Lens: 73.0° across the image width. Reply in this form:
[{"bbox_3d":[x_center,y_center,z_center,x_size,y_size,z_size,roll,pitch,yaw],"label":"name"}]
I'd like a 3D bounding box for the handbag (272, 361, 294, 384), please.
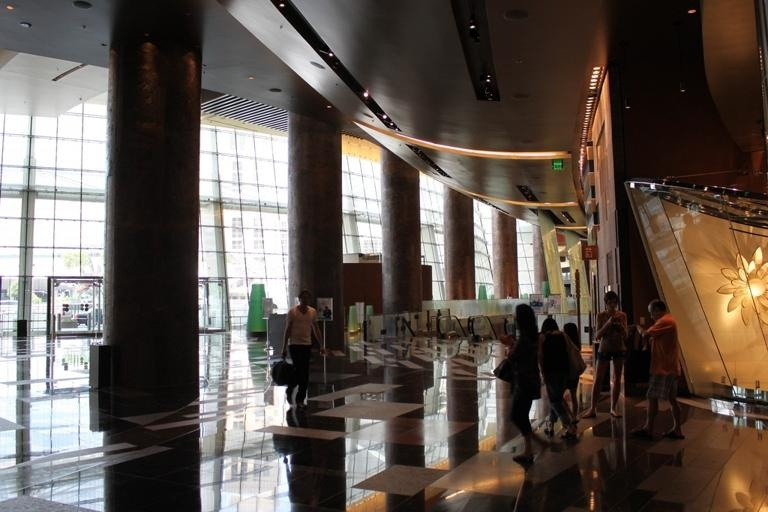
[{"bbox_3d":[-1.854,2.160,9.544,0.374,0.392,0.435,8,-14,-36],"label":"handbag"}]

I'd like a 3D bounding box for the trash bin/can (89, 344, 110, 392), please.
[{"bbox_3d":[-6.189,2.382,11.187,0.531,0.958,0.251,-7,-8,17],"label":"trash bin/can"}]

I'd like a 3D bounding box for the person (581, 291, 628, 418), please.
[{"bbox_3d":[3.927,1.687,9.138,0.778,2.094,1.548,-7,-8,22],"label":"person"}]

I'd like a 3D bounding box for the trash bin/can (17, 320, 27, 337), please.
[{"bbox_3d":[-19.600,3.898,27.948,0.406,0.918,0.685,1,-9,-38],"label":"trash bin/can"}]

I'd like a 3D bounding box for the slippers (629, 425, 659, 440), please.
[{"bbox_3d":[3.814,2.602,7.591,0.297,0.116,0.167,1,-4,27],"label":"slippers"}]

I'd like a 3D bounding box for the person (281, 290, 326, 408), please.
[{"bbox_3d":[-1.535,1.685,9.508,0.730,2.069,0.796,-5,-7,3],"label":"person"}]

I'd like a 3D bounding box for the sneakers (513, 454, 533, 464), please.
[{"bbox_3d":[1.798,2.624,6.715,0.249,0.108,0.209,-6,-7,17],"label":"sneakers"}]

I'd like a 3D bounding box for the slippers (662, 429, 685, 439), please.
[{"bbox_3d":[4.233,2.602,7.523,0.321,0.125,0.120,-2,-2,40],"label":"slippers"}]

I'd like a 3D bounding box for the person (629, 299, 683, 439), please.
[{"bbox_3d":[4.126,1.679,7.816,0.653,1.990,0.826,-10,-9,38],"label":"person"}]

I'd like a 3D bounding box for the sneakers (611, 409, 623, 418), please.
[{"bbox_3d":[3.915,2.686,8.783,0.092,0.149,0.214,4,-13,-32],"label":"sneakers"}]

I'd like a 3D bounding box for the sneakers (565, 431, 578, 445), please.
[{"bbox_3d":[2.732,2.624,7.566,0.206,0.124,0.402,-6,-7,17],"label":"sneakers"}]

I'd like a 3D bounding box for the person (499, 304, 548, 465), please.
[{"bbox_3d":[1.834,1.675,6.912,0.602,2.027,0.430,-6,-7,12],"label":"person"}]
